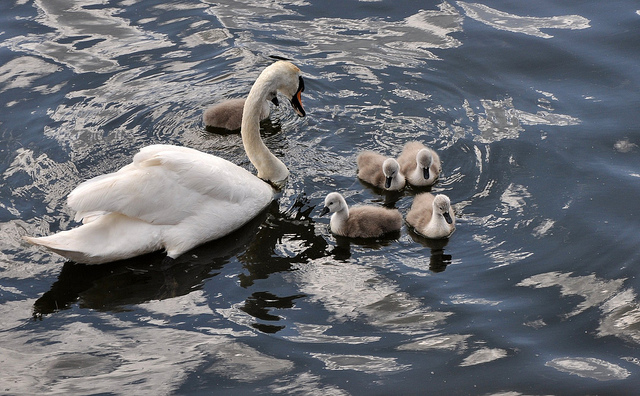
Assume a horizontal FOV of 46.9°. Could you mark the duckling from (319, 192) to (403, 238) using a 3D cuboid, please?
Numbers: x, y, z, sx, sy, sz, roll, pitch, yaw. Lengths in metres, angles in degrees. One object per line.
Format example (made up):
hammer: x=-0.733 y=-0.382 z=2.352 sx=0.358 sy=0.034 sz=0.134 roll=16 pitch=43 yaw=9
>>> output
duckling: x=1.120 y=0.346 z=15.990 sx=2.142 sy=0.679 sz=0.911 roll=-3 pitch=17 yaw=2

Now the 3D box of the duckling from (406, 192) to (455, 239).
duckling: x=2.327 y=0.300 z=15.913 sx=1.102 sy=0.795 sz=1.115 roll=-16 pitch=45 yaw=-2

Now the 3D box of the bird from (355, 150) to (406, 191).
bird: x=1.248 y=-0.697 z=16.867 sx=0.906 sy=0.699 sz=1.161 roll=-32 pitch=49 yaw=-11
